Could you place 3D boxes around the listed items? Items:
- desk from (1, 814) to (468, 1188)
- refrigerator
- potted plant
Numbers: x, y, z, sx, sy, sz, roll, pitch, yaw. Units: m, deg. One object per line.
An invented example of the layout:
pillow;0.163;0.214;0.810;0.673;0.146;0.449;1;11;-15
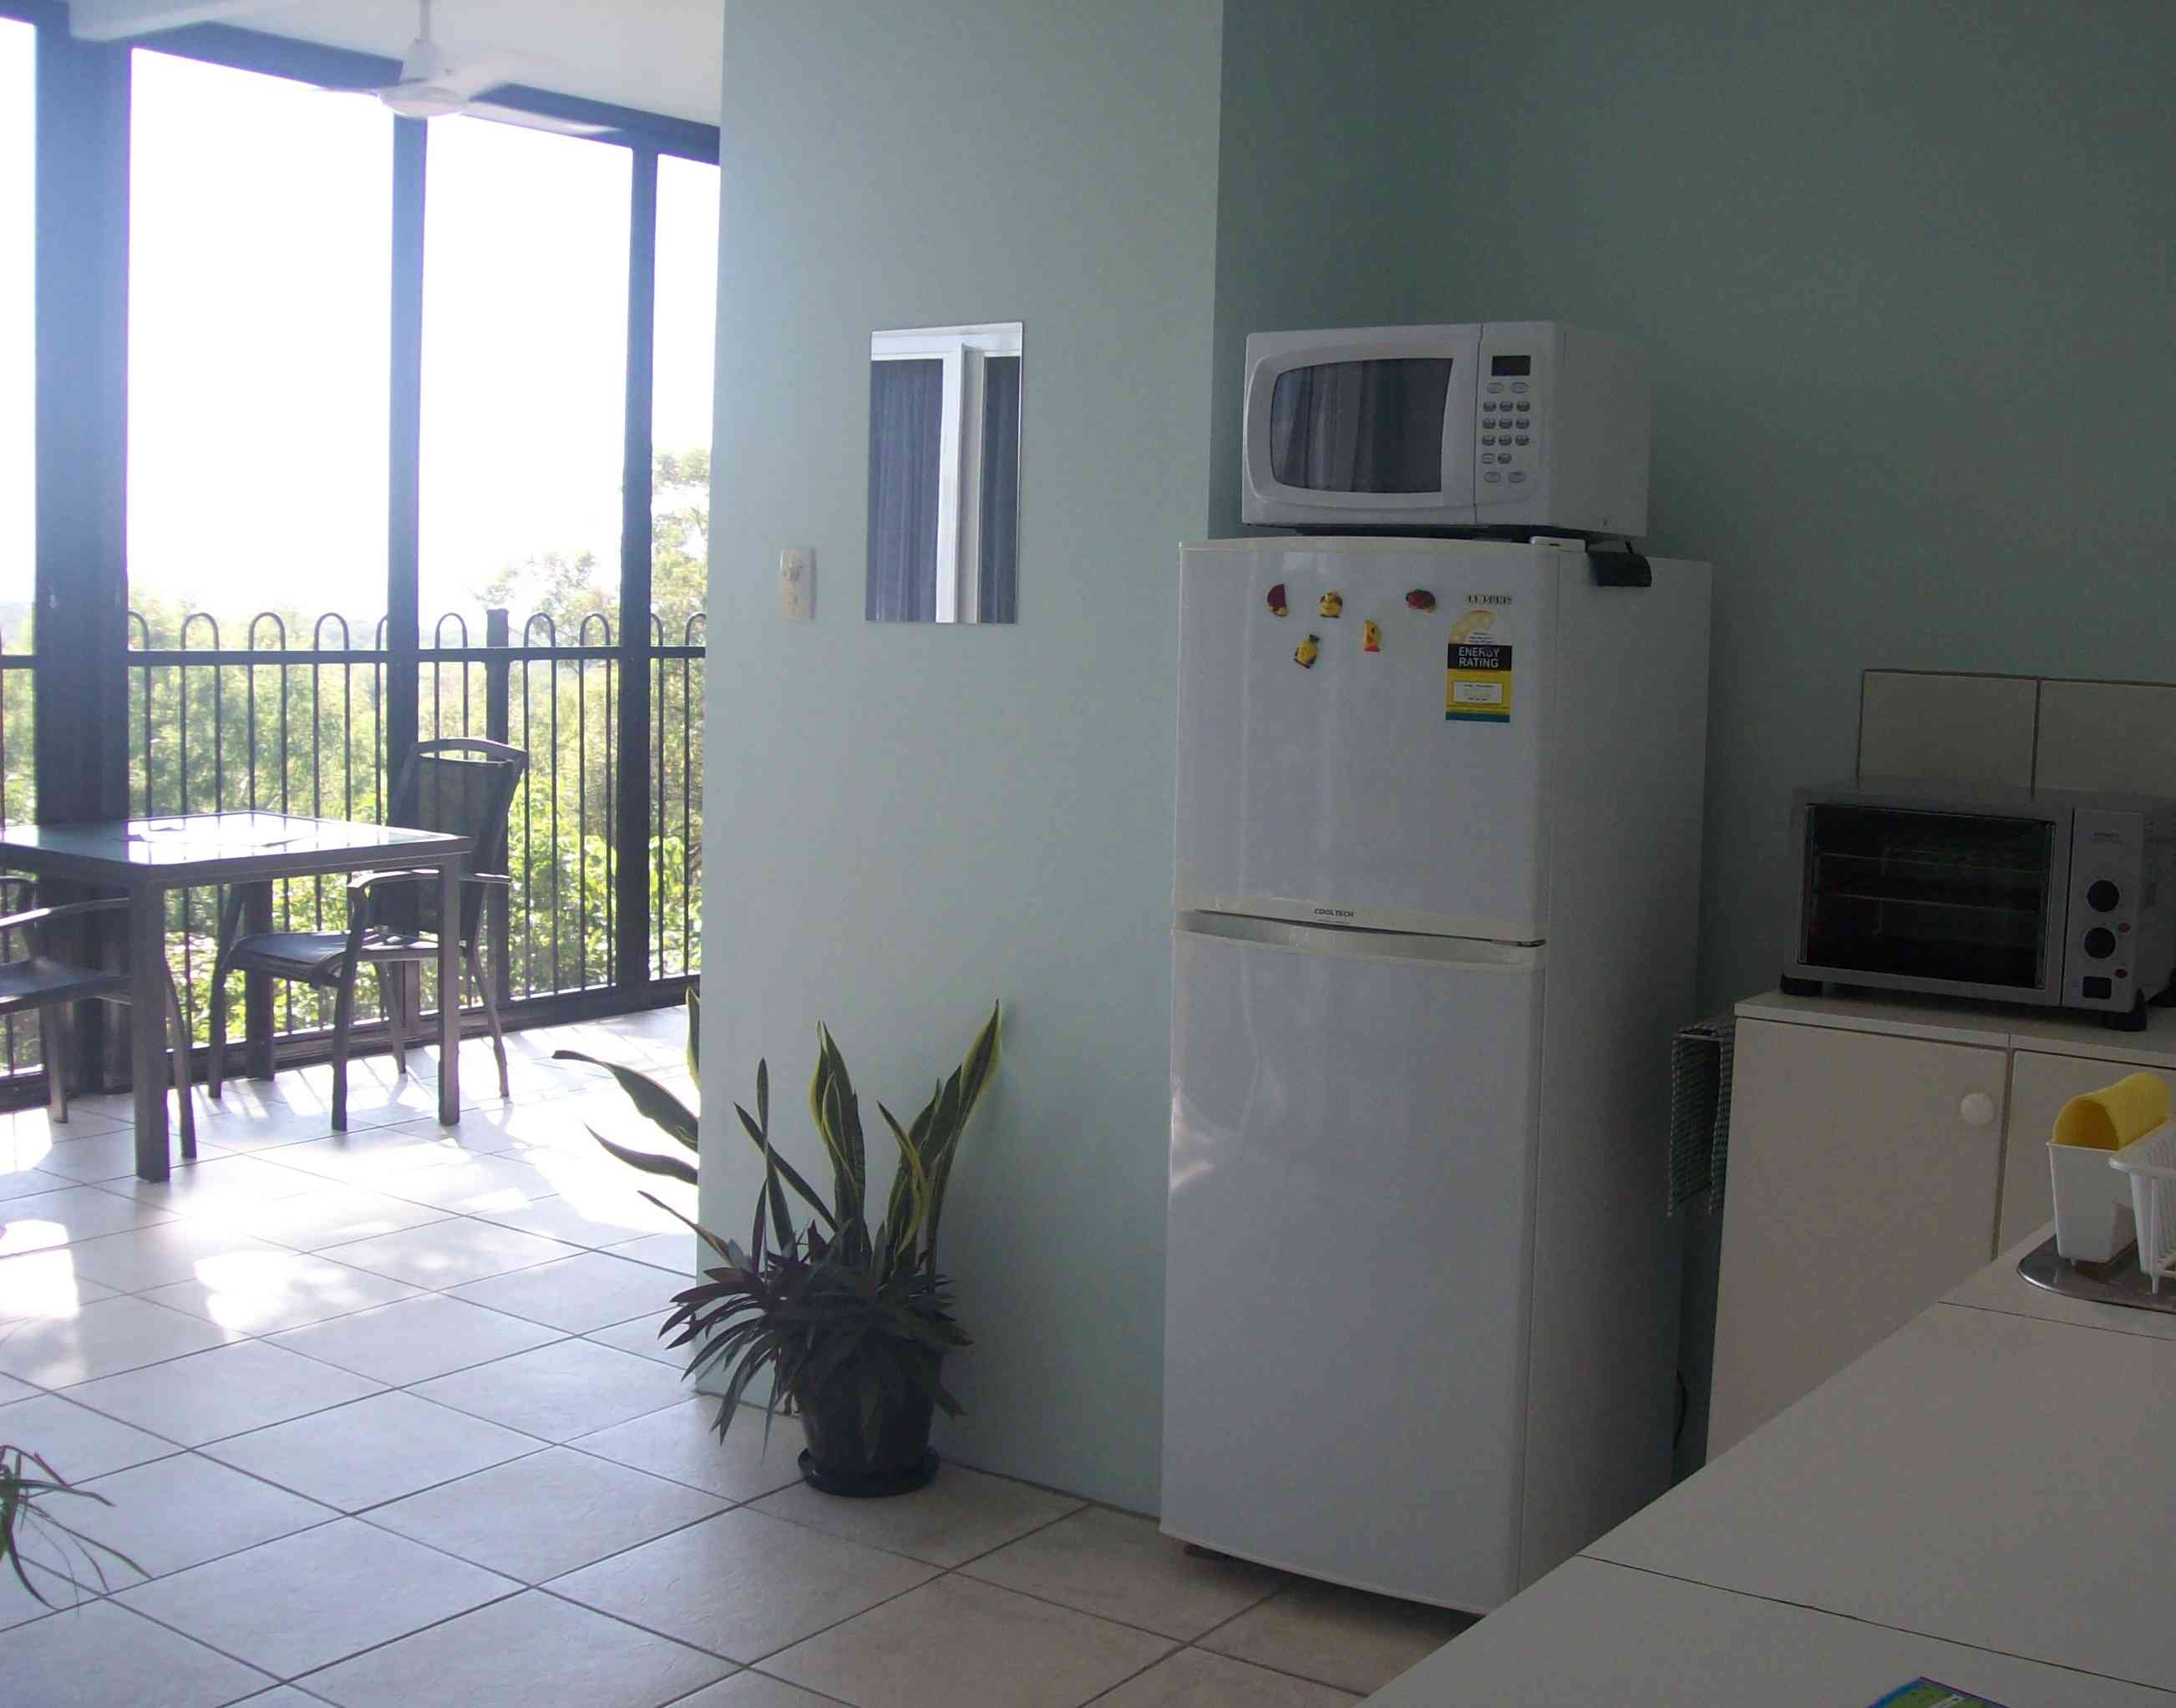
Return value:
desk;-2.620;0.410;5.387;1.245;0.992;0.854;-6;9;-36
refrigerator;0.603;0.354;2.965;0.951;1.771;0.505;0;7;4
potted plant;-0.429;0.737;3.622;0.821;1.108;0.812;1;-1;14
